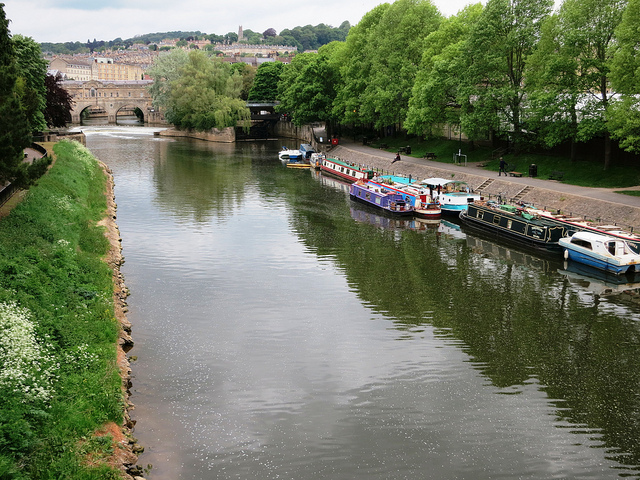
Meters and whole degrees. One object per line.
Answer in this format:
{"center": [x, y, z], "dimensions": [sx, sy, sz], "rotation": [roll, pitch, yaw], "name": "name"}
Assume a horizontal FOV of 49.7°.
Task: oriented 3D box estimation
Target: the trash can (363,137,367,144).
{"center": [7.028, -15.537, 107.786], "dimensions": [0.851, 1.376, 0.821], "rotation": [0, 5, 6], "name": "trash can"}

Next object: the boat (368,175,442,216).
{"center": [9.014, -4.014, 68.642], "dimensions": [3.029, 2.271, 7.768], "rotation": [-5, 14, -25], "name": "boat"}

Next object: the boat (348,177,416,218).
{"center": [6.320, -4.410, 70.254], "dimensions": [2.582, 2.286, 8.975], "rotation": [-10, 17, -23], "name": "boat"}

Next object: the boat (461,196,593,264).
{"center": [16.932, -0.651, 57.556], "dimensions": [4.592, 2.585, 8.959], "rotation": [-3, 14, -24], "name": "boat"}

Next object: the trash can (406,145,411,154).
{"center": [11.796, -11.953, 91.713], "dimensions": [0.849, 1.204, 0.823], "rotation": [-10, 16, -33], "name": "trash can"}

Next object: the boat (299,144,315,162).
{"center": [-2.071, -13.587, 107.323], "dimensions": [1.223, 1.398, 4.966], "rotation": [2, 23, -4], "name": "boat"}

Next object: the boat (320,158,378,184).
{"center": [3.410, -8.751, 88.743], "dimensions": [3.108, 2.144, 10.935], "rotation": [-4, 17, -25], "name": "boat"}

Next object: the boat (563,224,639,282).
{"center": [20.842, 0.903, 50.508], "dimensions": [3.091, 2.248, 4.558], "rotation": [-10, 19, -25], "name": "boat"}
